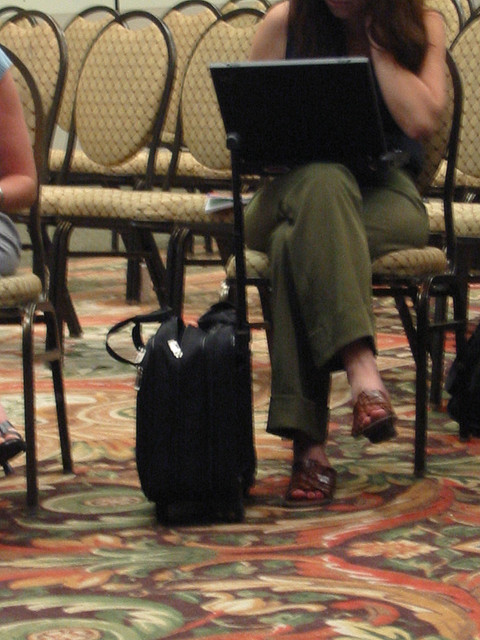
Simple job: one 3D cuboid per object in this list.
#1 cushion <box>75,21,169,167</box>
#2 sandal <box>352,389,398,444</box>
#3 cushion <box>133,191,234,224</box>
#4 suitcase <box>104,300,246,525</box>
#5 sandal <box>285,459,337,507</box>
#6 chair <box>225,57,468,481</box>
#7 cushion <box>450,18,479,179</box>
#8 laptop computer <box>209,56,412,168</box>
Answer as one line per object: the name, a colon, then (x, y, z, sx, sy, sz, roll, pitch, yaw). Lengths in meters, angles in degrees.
cushion: (-0.501, -0.988, 2.528, 0.542, 0.649, 0.166, -2, -3, 42)
sandal: (0.204, 0.150, 0.905, 0.042, 0.044, 0.107, -14, -7, 6)
cushion: (-0.194, -0.370, 2.009, 0.366, 0.130, 0.063, -1, -2, 21)
suitcase: (-0.102, 0.160, 1.018, 0.235, 0.342, 0.265, -1, -10, -6)
sandal: (0.126, 0.272, 1.066, 0.088, 0.062, 0.172, 2, 6, 16)
chair: (0.285, -0.190, 1.418, 0.499, 0.759, 0.445, 3, -4, 19)
cushion: (0.728, -0.704, 1.925, 0.079, 0.490, 0.135, -1, -2, 21)
laptop computer: (0.073, -0.319, 1.051, 0.280, 0.193, 0.197, -9, 3, -18)
